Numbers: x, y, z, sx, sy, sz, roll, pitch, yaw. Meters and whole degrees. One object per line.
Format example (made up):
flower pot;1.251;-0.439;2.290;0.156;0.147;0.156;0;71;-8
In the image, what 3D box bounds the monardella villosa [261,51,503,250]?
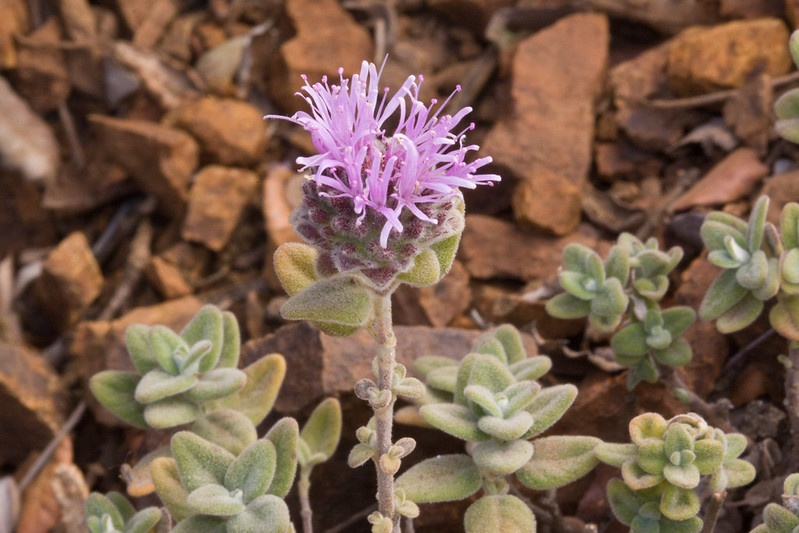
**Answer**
monardella villosa;-0.095;-0.308;3.683;0.777;0.481;0.824;25;53;-7
